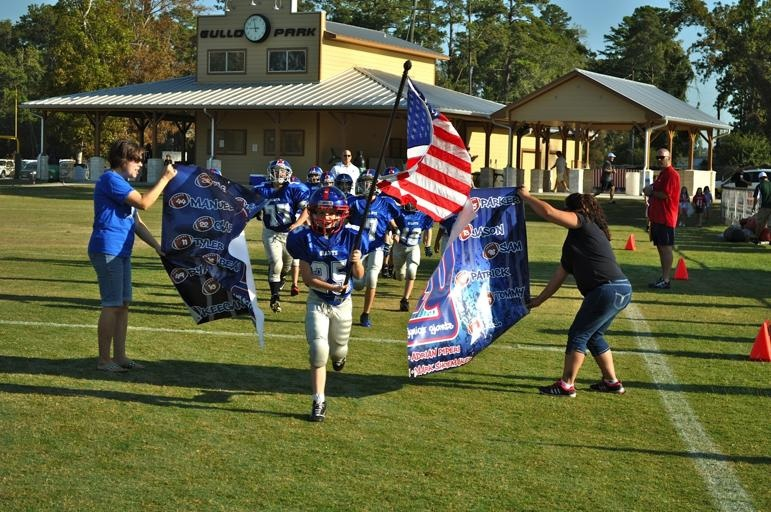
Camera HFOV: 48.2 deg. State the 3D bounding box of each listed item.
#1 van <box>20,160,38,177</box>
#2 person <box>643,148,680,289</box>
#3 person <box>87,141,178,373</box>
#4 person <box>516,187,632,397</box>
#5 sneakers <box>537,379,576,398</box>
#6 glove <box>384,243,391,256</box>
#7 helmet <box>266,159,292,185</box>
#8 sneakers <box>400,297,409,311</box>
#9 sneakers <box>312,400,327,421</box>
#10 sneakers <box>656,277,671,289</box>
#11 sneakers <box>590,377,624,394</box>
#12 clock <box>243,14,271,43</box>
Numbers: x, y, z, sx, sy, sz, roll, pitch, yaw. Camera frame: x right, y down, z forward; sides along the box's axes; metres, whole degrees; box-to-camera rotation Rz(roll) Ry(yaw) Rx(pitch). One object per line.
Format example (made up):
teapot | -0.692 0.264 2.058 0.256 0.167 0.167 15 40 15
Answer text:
van | -23.890 -5.882 57.739 1.006 0.925 3.039 -4 15 -23
person | 5.137 -0.677 16.115 0.554 2.645 0.909 5 13 16
person | -3.269 -0.006 10.894 0.901 2.861 0.747 -7 15 -34
person | 2.399 0.494 10.506 1.134 2.435 0.691 5 13 15
sneakers | 2.111 1.640 10.671 0.489 0.212 0.178 4 2 7
glove | 0.030 -0.109 15.916 0.187 0.185 0.187 0 3 0
helmet | -1.807 -1.411 14.595 0.346 0.374 0.451 0 -2 -5
sneakers | 0.301 0.817 14.434 0.173 0.220 0.512 0 -6 0
sneakers | -0.769 1.764 9.835 0.159 0.207 0.158 0 13 -8
sneakers | 5.210 0.523 16.405 0.367 0.157 0.126 2 7 16
sneakers | 2.756 1.606 10.796 0.441 0.199 0.166 5 19 13
clock | -6.464 -11.434 43.365 1.328 1.396 0.335 7 14 20
